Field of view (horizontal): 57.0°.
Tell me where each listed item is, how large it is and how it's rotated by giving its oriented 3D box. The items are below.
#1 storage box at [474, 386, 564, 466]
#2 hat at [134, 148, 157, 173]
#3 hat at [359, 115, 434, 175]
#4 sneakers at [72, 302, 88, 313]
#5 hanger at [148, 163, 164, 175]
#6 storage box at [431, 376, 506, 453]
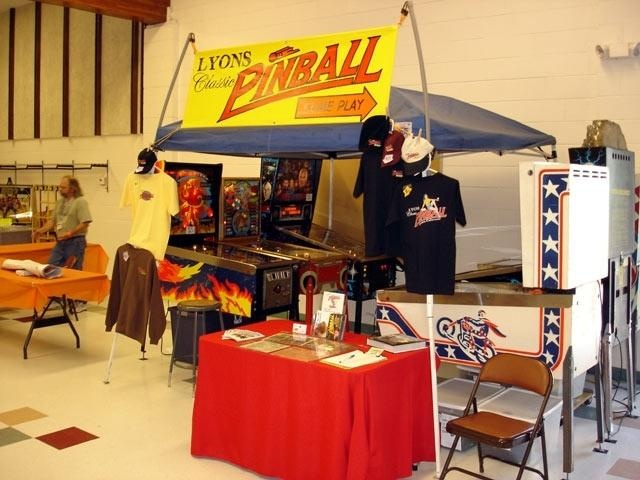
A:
[{"bbox_3d":[1.580,1.390,4.550,0.430,0.378,0.554,3,3,45],"label":"storage box"},{"bbox_3d":[-1.685,-0.759,5.672,0.221,0.256,0.210,-1,9,-8],"label":"hat"},{"bbox_3d":[0.545,-0.687,4.298,0.376,0.301,0.524,-33,54,-28],"label":"hat"},{"bbox_3d":[-3.405,0.953,8.380,0.168,0.176,0.139,-2,-2,33],"label":"sneakers"},{"bbox_3d":[-1.576,-0.694,5.722,0.077,0.116,0.065,6,16,-15],"label":"hanger"},{"bbox_3d":[1.161,1.373,4.761,0.409,0.315,0.568,3,2,39],"label":"storage box"}]
